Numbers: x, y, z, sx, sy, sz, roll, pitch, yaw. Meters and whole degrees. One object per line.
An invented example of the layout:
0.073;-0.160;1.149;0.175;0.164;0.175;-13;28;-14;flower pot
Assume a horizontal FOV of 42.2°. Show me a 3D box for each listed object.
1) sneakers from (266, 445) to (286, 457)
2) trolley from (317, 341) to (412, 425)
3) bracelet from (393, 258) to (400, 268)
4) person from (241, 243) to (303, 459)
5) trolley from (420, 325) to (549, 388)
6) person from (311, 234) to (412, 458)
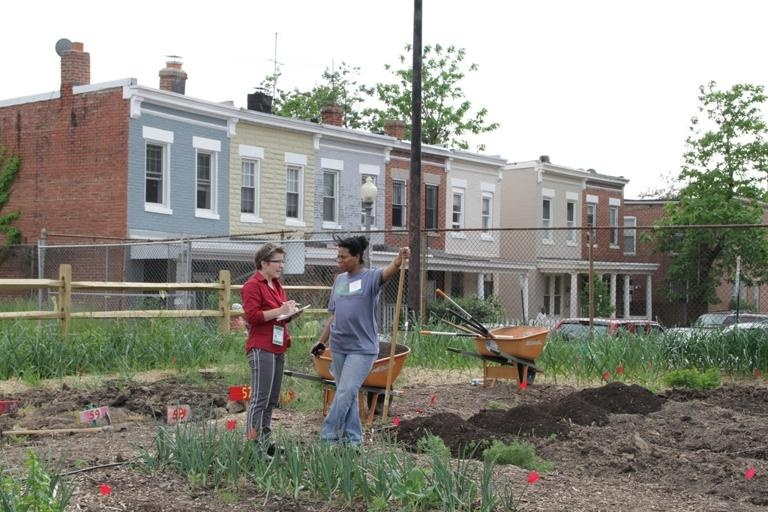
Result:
-1.423;2.474;12.675;0.183;0.090;0.220;-2;-12;-16;sneakers
-0.293;1.983;14.675;0.894;0.928;1.379;-8;-2;29;trolley
0.162;0.110;13.284;0.086;0.096;0.091;6;9;29;bracelet
-1.551;1.208;13.076;0.670;2.723;0.559;3;-5;-26;person
1.780;1.633;16.634;0.971;0.942;2.248;-2;-5;45;trolley
-0.385;1.124;13.391;1.093;2.776;0.802;0;-5;6;person
